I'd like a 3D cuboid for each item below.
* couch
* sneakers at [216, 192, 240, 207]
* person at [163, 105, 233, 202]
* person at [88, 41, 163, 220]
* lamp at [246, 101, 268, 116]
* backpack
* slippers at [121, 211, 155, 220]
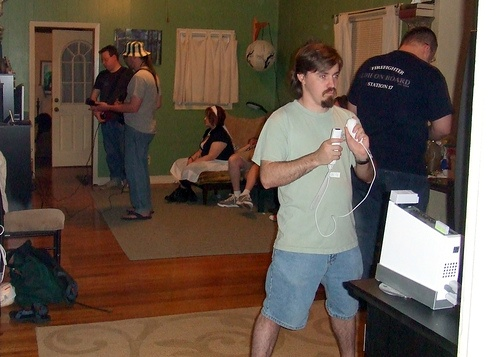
[{"bbox_3d":[-0.302,-0.229,6.539,1.123,1.546,1.044,1,4,-14],"label":"couch"},{"bbox_3d":[-0.276,0.309,6.190,0.369,0.187,0.143,0,11,2],"label":"sneakers"},{"bbox_3d":[-0.736,-0.352,6.598,1.028,1.470,0.892,2,5,-14],"label":"person"},{"bbox_3d":[-1.372,-0.522,5.220,0.645,2.080,0.601,-1,10,-16],"label":"person"},{"bbox_3d":[0.108,-1.285,7.876,0.313,0.228,0.119,-14,0,0],"label":"lamp"},{"bbox_3d":[-1.527,0.752,3.166,0.383,0.204,0.551,4,43,-21],"label":"backpack"},{"bbox_3d":[-1.398,0.460,5.439,0.343,0.145,0.122,5,4,-11],"label":"slippers"}]
